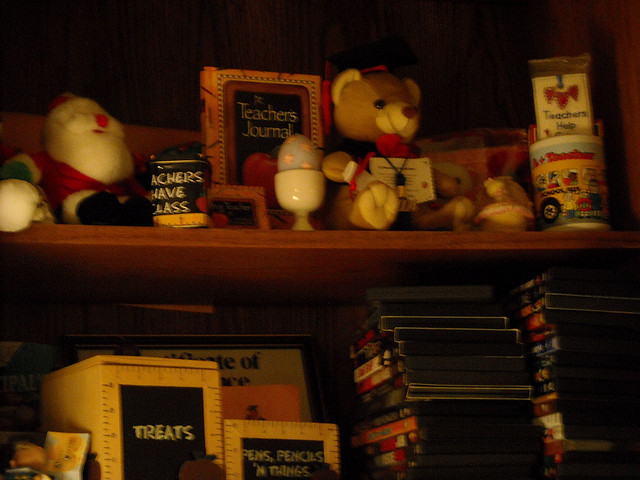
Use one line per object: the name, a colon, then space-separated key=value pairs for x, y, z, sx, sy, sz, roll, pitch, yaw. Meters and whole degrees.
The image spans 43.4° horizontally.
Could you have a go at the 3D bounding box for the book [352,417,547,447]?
book: x=0.210 y=0.352 z=1.486 sx=0.364 sy=0.064 sz=0.138 roll=-8 pitch=-7 yaw=31

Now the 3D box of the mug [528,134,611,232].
mug: x=0.474 y=-0.113 z=1.529 sx=0.119 sy=0.216 sz=0.094 roll=-1 pitch=2 yaw=11

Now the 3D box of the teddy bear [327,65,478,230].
teddy bear: x=0.146 y=-0.199 z=1.649 sx=0.307 sy=0.346 sz=0.328 roll=12 pitch=12 yaw=44

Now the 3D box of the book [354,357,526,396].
book: x=0.167 y=0.274 z=1.600 sx=0.369 sy=0.057 sz=0.374 roll=-13 pitch=-17 yaw=38

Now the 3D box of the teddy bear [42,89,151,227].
teddy bear: x=-0.412 y=-0.150 z=1.469 sx=0.184 sy=0.287 sz=0.185 roll=-4 pitch=-7 yaw=-14
